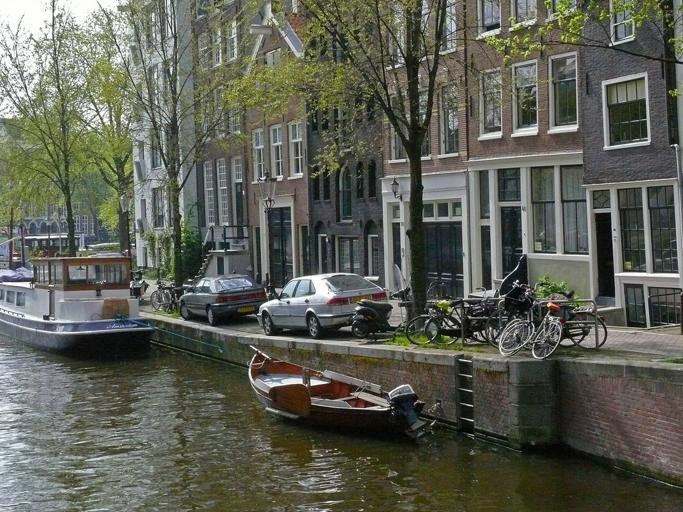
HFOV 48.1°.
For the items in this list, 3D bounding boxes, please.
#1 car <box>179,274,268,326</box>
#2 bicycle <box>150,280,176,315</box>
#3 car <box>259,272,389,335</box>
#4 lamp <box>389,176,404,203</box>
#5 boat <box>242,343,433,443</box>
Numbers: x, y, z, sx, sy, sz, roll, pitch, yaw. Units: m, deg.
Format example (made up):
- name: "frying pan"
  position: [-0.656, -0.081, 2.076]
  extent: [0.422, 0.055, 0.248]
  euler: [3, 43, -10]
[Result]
- name: "car"
  position: [-4.009, 1.394, 25.667]
  extent: [1.552, 1.460, 3.055]
  euler: [-13, 12, -43]
- name: "bicycle"
  position: [-6.809, 1.629, 29.459]
  extent: [0.846, 1.072, 1.670]
  euler: [2, 1, -28]
- name: "car"
  position: [-0.588, 1.276, 20.708]
  extent: [1.659, 1.217, 2.823]
  euler: [-3, 3, -40]
- name: "lamp"
  position: [1.950, -2.374, 27.278]
  extent: [0.447, 0.939, 1.240]
  euler: [-4, 9, 4]
- name: "boat"
  position: [-0.387, 3.017, 16.255]
  extent: [4.737, 1.375, 1.542]
  euler: [8, 6, 43]
